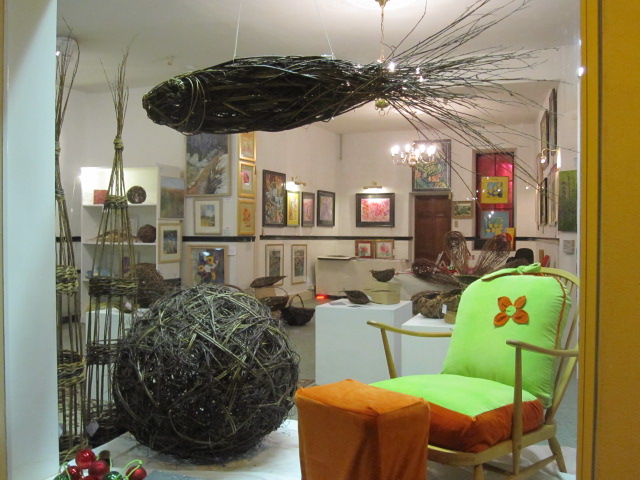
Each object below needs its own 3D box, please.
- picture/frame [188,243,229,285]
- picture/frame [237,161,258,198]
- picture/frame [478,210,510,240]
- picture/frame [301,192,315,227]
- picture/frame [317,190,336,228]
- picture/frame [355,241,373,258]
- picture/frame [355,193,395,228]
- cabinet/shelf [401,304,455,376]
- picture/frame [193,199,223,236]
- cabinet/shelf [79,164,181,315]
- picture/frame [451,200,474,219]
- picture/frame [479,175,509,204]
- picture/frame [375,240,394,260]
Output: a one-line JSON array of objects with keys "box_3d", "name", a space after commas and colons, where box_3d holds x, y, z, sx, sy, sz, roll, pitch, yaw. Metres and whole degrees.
[{"box_3d": [-1.749, 0.362, 7.909, 0.584, 0.497, 0.085, -1, 0, 12], "name": "picture/frame"}, {"box_3d": [-1.169, -0.984, 8.096, 0.045, 0.607, 0.586, -2, -5, 20], "name": "picture/frame"}, {"box_3d": [3.536, -0.347, 10.328, 0.634, 0.771, 0.102, 0, 3, 27], "name": "picture/frame"}, {"box_3d": [-0.265, -0.658, 10.548, 0.047, 0.724, 0.701, -1, -3, 21], "name": "picture/frame"}, {"box_3d": [0.114, -0.721, 11.293, 0.057, 0.838, 0.811, -1, -3, 23], "name": "picture/frame"}, {"box_3d": [1.027, 0.183, 11.815, 0.354, 0.366, 0.039, 1, -3, 27], "name": "picture/frame"}, {"box_3d": [1.292, -0.718, 11.664, 0.753, 0.668, 0.060, 1, 1, 19], "name": "picture/frame"}, {"box_3d": [0.810, 0.716, 3.726, 0.379, 0.397, 0.369, 0, -1, 23], "name": "cabinet/shelf"}, {"box_3d": [-1.721, -0.375, 7.907, 0.531, 0.644, 0.043, 0, 5, 16], "name": "picture/frame"}, {"box_3d": [-2.859, -0.131, 7.646, 1.461, 1.995, 0.621, -1, 0, 2], "name": "cabinet/shelf"}, {"box_3d": [3.119, -0.692, 11.104, 0.389, 0.359, 0.061, 1, -2, 27], "name": "picture/frame"}, {"box_3d": [3.523, -1.041, 10.352, 0.563, 0.577, 1.145, -1, 0, 18], "name": "picture/frame"}, {"box_3d": [1.488, 0.203, 11.627, 0.373, 0.397, 0.027, 3, 1, 28], "name": "picture/frame"}]
